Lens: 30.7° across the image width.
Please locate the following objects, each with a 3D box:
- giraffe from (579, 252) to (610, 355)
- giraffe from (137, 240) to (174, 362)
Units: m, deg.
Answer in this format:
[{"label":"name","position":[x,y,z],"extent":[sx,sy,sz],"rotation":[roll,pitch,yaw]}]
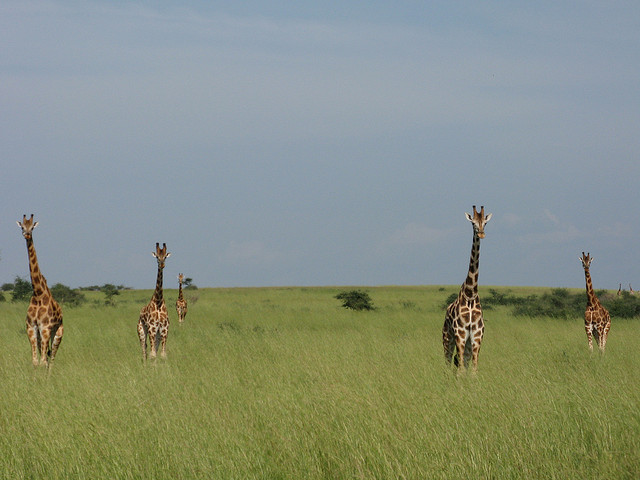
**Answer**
[{"label":"giraffe","position":[10.446,2.311,44.012],"extent":[1.075,4.338,6.036],"rotation":[1,7,13]},{"label":"giraffe","position":[-6.262,2.396,43.783],"extent":[1.105,4.368,1.629],"rotation":[-1,6,-10]}]
